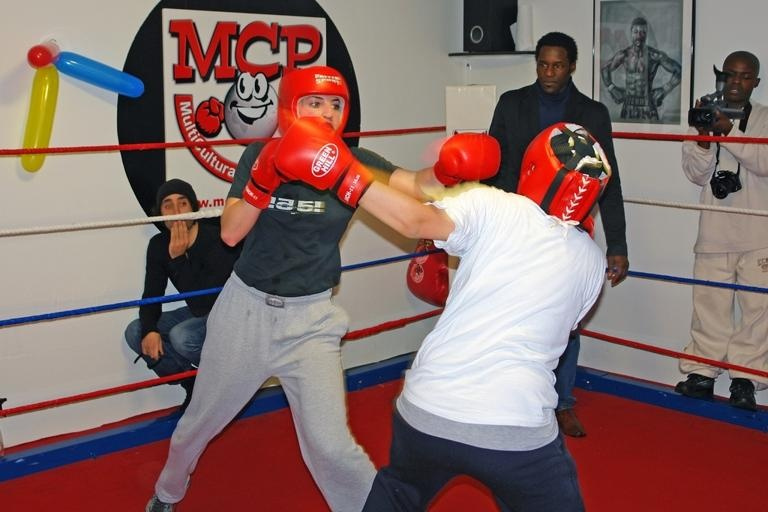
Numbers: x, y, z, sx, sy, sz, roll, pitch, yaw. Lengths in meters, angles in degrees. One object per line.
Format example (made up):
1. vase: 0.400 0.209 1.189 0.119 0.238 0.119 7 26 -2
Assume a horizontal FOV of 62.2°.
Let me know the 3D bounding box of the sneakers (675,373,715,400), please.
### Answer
1. sneakers: 1.837 0.764 3.741 0.284 0.139 0.110 10 -7 -19

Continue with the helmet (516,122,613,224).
1. helmet: 0.571 -0.289 2.153 0.223 0.270 0.275 11 22 -21

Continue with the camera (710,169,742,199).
1. camera: 2.003 -0.433 3.771 0.160 0.162 0.164 -34 25 -35

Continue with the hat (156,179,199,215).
1. hat: -1.176 -0.325 3.621 0.185 0.182 0.205 -1 -14 -5

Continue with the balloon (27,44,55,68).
1. balloon: -1.706 -0.989 3.177 0.098 0.102 0.130 4 7 34

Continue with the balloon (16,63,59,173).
1. balloon: -1.733 -0.719 3.210 0.159 0.636 0.170 9 0 -20

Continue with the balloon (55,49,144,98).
1. balloon: -1.407 -0.945 3.331 0.542 0.147 0.146 20 20 -7

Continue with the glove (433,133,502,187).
1. glove: 0.360 -0.434 2.703 0.305 0.199 0.407 -6 17 -13

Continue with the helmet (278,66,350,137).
1. helmet: -0.290 -0.621 2.558 0.275 0.289 0.334 -6 7 -41
